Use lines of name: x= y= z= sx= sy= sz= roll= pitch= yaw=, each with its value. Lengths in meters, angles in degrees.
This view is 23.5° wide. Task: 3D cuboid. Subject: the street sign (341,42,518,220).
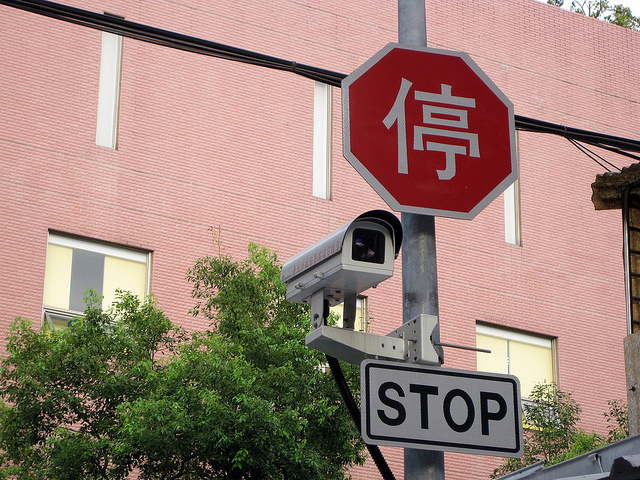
street sign: x=1.512 y=-1.496 z=20.717 sx=2.832 sy=2.366 sz=0.096 roll=11 pitch=23 yaw=37

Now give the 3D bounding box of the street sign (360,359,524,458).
street sign: x=1.608 y=2.226 z=20.159 sx=2.451 sy=1.169 sz=0.046 roll=9 pitch=-23 yaw=-25
